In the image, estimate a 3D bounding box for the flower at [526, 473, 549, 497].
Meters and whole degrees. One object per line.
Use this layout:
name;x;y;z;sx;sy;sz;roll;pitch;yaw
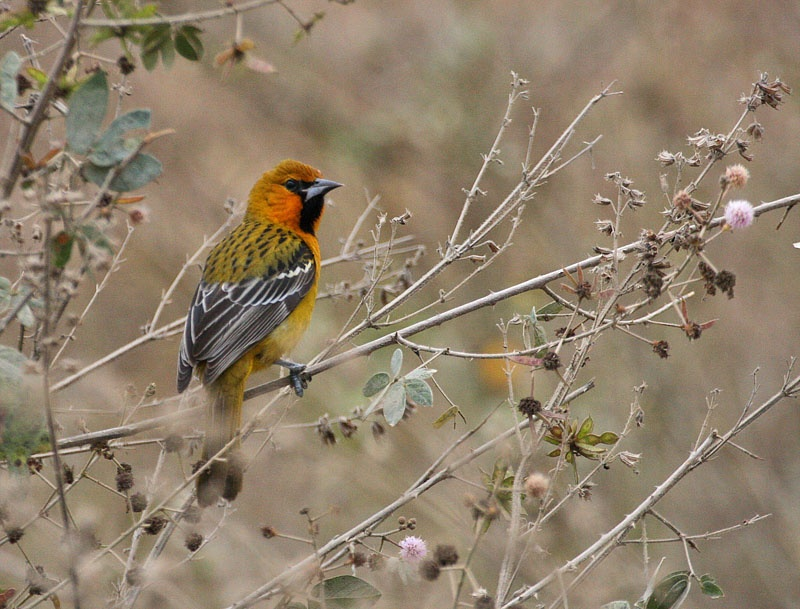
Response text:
flower;0.641;0.854;4.525;0.099;0.099;0.110;0;-86;-36

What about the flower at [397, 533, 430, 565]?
flower;0.072;1.254;4.938;0.116;0.116;0.125;-20;-32;-8

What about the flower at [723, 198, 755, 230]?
flower;1.766;-0.467;5.049;0.149;0.153;0.168;9;-96;-16
